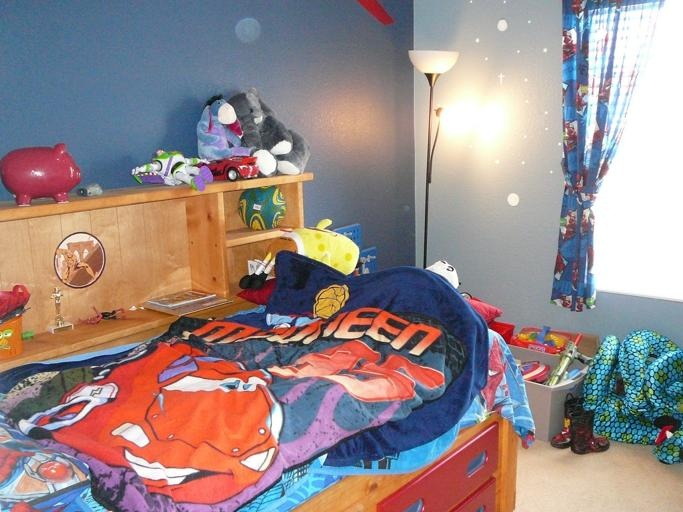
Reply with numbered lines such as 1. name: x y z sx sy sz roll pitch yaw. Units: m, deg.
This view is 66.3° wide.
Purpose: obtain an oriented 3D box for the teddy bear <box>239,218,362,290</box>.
1. teddy bear: -0.172 -0.026 2.519 0.430 0.235 0.328 -3 4 -28

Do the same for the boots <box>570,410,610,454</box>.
1. boots: 1.282 0.905 2.715 0.225 0.214 0.107 -3 2 -15

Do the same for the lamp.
1. lamp: 0.625 -0.615 3.578 0.315 1.521 0.638 1 14 12

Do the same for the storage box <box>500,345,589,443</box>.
1. storage box: 1.126 0.758 2.886 0.479 0.340 0.381 17 11 36
